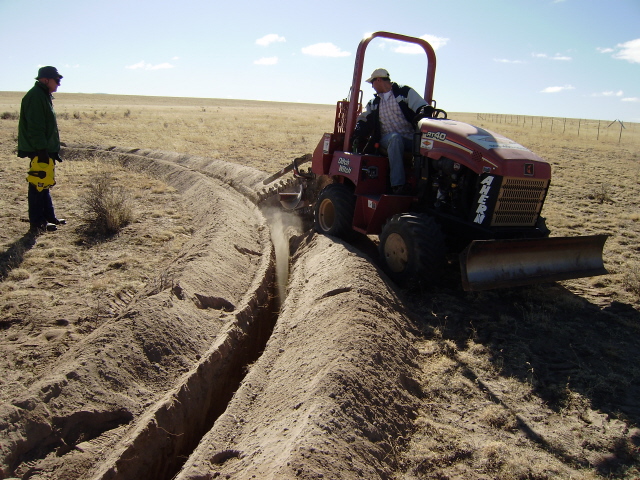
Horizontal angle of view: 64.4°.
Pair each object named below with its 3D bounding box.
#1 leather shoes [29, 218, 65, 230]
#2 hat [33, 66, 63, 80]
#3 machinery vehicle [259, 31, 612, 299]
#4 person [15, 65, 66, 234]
[{"bbox_3d":[-5.440,-0.313,10.106,0.522,0.224,0.175,-5,14,-11],"label":"leather shoes"},{"bbox_3d":[-5.070,-3.121,9.541,0.205,0.243,0.357,11,19,28],"label":"hat"},{"bbox_3d":[1.659,-1.215,8.751,2.773,3.034,5.574,-3,11,-26],"label":"machinery vehicle"},{"bbox_3d":[-5.240,-1.671,9.611,0.830,3.074,0.951,-7,19,-27],"label":"person"}]
